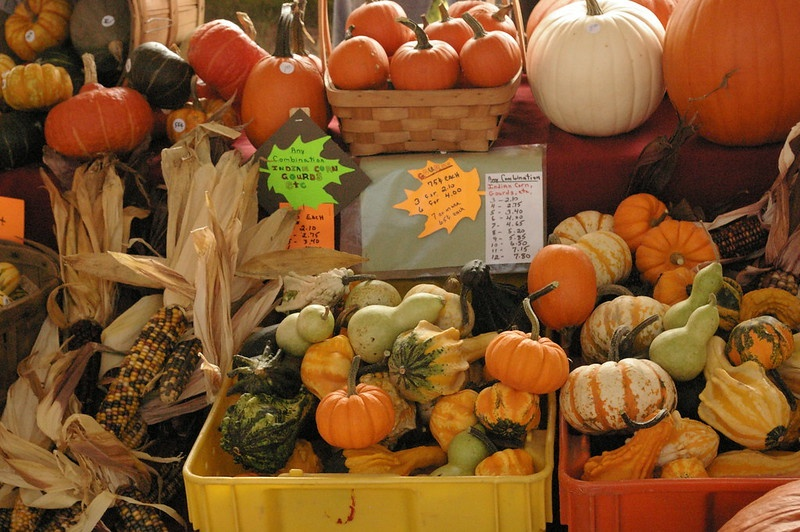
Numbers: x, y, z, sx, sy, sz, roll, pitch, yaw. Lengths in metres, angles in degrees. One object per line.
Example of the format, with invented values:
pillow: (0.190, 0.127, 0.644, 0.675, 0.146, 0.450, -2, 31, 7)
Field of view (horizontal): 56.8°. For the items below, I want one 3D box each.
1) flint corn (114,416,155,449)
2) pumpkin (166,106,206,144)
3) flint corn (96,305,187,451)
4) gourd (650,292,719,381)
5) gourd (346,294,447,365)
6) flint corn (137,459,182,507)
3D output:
flint corn: (-0.940, 0.597, 2.640, 0.037, 0.070, 0.116, -26, 35, 41)
pumpkin: (-0.925, -0.616, 3.163, 0.165, 0.169, 0.168, -12, 22, -26)
flint corn: (-0.921, 0.373, 2.706, 0.163, 0.630, 0.156, 26, -16, -5)
gourd: (0.922, 0.238, 2.386, 0.145, 0.256, 0.142, 36, 7, 11)
gourd: (0.027, 0.141, 2.623, 0.401, 0.250, 0.273, 0, 18, 23)
flint corn: (-0.850, 0.795, 2.686, 0.117, 0.127, 0.186, -4, 27, -7)
